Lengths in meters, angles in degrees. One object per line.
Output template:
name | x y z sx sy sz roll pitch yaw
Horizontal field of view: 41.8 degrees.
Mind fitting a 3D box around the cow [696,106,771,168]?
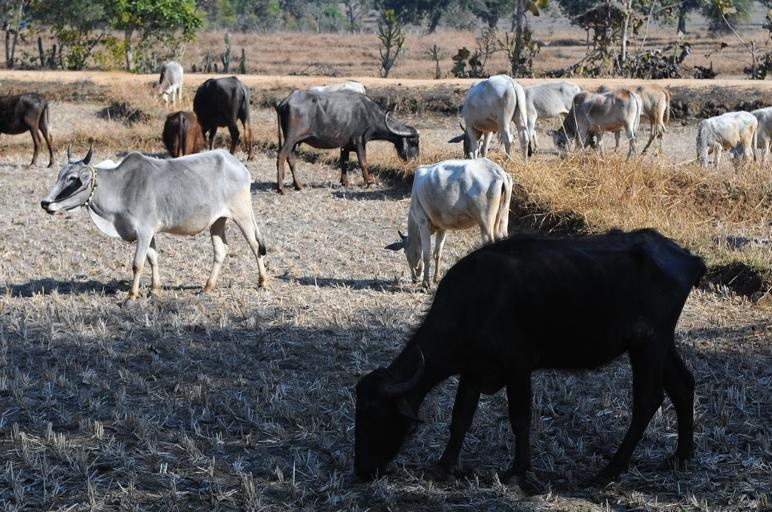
cow | 7.450 -2.634 22.279 0.898 1.060 2.432 7 11 37

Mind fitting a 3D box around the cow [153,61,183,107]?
cow | -6.530 -5.170 30.375 0.823 1.311 2.629 -1 9 -13

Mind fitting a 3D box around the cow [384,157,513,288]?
cow | 0.985 -0.492 16.448 2.415 2.046 1.005 -3 0 44

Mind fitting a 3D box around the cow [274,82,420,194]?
cow | -0.938 -2.475 21.775 3.162 2.117 0.521 -5 11 -35
